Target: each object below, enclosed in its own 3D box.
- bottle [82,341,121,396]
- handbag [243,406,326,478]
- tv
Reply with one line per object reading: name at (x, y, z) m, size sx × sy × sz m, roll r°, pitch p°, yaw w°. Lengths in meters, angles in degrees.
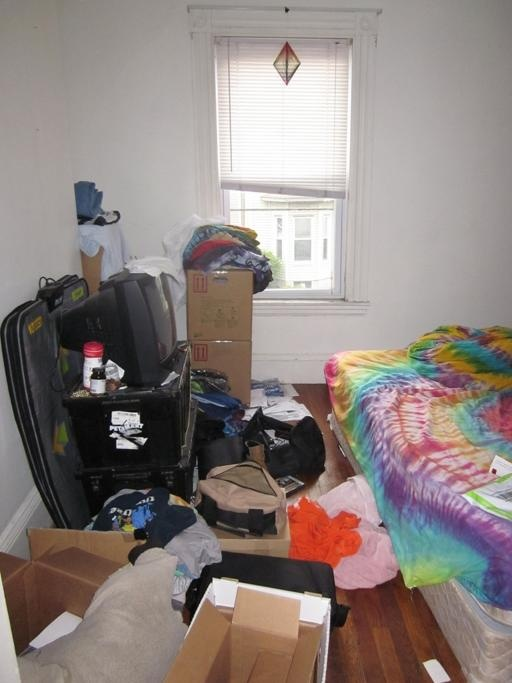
bottle at (-0.543, 0.084, 1.845) m, size 0.102 × 0.175 × 0.122 m, roll 7°, pitch 18°, yaw 34°
handbag at (0.123, 0.486, 2.558) m, size 0.392 × 0.283 × 0.203 m, roll 15°, pitch 5°, yaw 8°
tv at (-0.503, -0.087, 2.005) m, size 0.411 × 0.386 × 0.411 m, roll 4°, pitch 23°, yaw -3°
